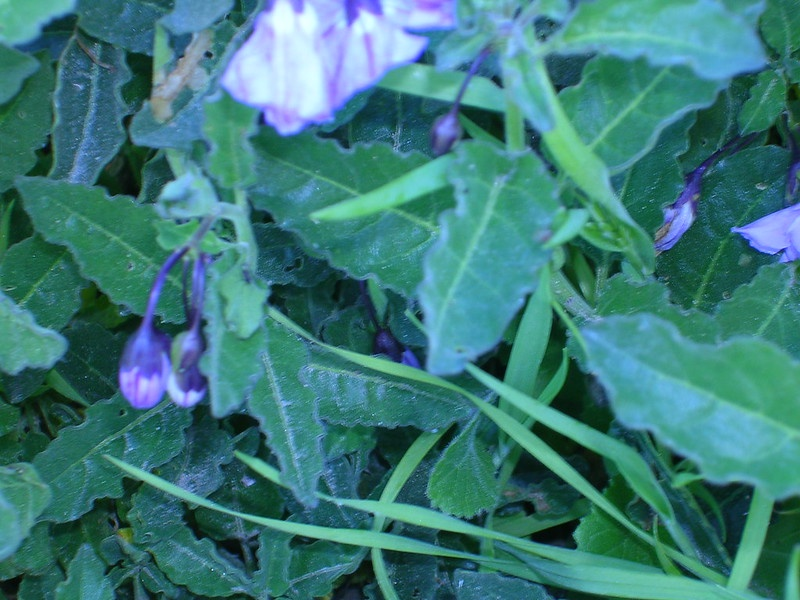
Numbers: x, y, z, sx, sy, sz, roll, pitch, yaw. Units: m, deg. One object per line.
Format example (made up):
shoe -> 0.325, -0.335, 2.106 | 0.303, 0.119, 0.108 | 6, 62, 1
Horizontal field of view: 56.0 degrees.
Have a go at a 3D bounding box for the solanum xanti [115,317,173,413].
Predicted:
solanum xanti -> -0.258, 0.069, 0.772 | 0.041, 0.053, 0.091 | 13, 100, 24

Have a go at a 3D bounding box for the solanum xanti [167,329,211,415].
solanum xanti -> -0.225, 0.077, 0.808 | 0.049, 0.111, 0.047 | 0, 52, -13
